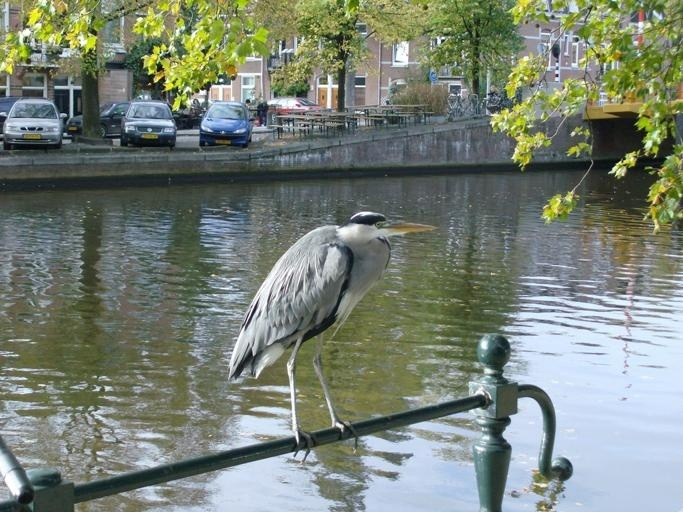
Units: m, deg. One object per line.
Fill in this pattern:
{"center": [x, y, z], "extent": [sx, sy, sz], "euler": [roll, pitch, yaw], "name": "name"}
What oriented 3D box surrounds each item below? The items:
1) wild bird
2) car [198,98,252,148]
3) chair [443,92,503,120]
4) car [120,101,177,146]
{"center": [-0.189, 0.419, 9.264], "extent": [1.271, 1.482, 0.530], "euler": [2, 6, -5], "name": "wild bird"}
{"center": [-3.265, -3.880, 34.832], "extent": [1.506, 1.062, 2.588], "euler": [3, 22, -2], "name": "car"}
{"center": [4.773, -5.203, 43.584], "extent": [2.004, 1.039, 3.089], "euler": [3, 5, 11], "name": "chair"}
{"center": [-5.228, -3.501, 33.262], "extent": [1.415, 1.242, 1.546], "euler": [1, 6, -6], "name": "car"}
